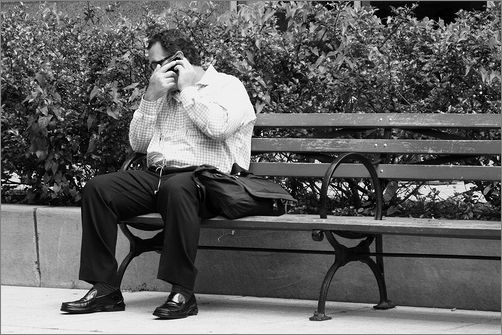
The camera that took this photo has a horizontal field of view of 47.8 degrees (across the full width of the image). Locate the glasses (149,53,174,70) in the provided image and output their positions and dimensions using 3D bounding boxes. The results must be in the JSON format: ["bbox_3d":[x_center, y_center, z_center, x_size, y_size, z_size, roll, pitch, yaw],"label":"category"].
[{"bbox_3d":[-0.692,-0.805,4.301,0.110,0.031,0.106,-35,12,-20],"label":"glasses"}]

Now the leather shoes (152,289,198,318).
[{"bbox_3d":[-0.498,0.918,3.755,0.171,0.172,0.415,-1,-6,30],"label":"leather shoes"}]

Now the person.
[{"bbox_3d":[-0.641,-0.011,4.085,1.079,2.053,0.909,-1,2,21],"label":"person"}]

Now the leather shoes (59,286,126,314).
[{"bbox_3d":[-1.110,0.920,3.976,0.458,0.190,0.166,4,-7,-23],"label":"leather shoes"}]

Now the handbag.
[{"bbox_3d":[-0.051,0.184,3.985,0.478,0.196,0.476,21,-2,40],"label":"handbag"}]
